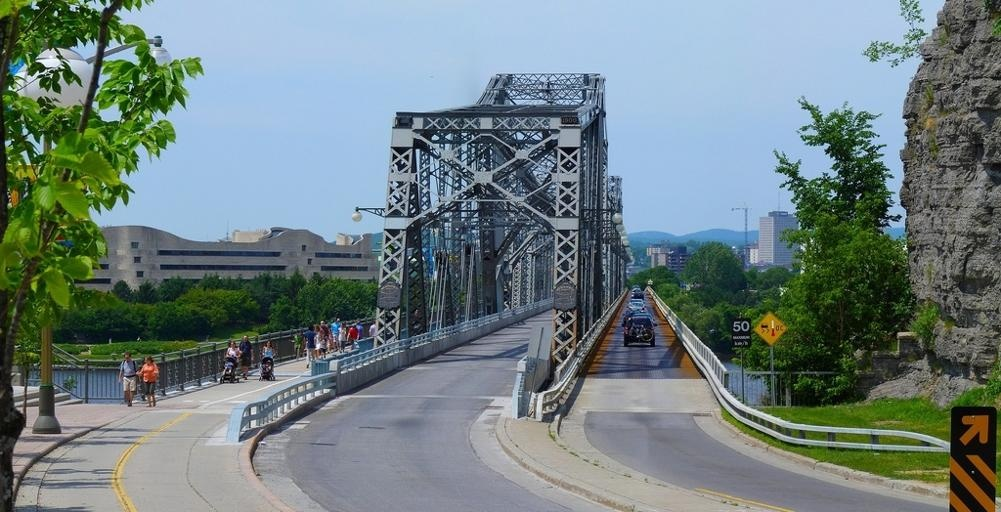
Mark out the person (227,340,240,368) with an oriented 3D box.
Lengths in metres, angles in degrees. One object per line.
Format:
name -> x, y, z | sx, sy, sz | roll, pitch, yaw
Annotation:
person -> -13.383, 4.911, 65.663 | 0.661, 1.288, 1.429 | -3, -3, -13
